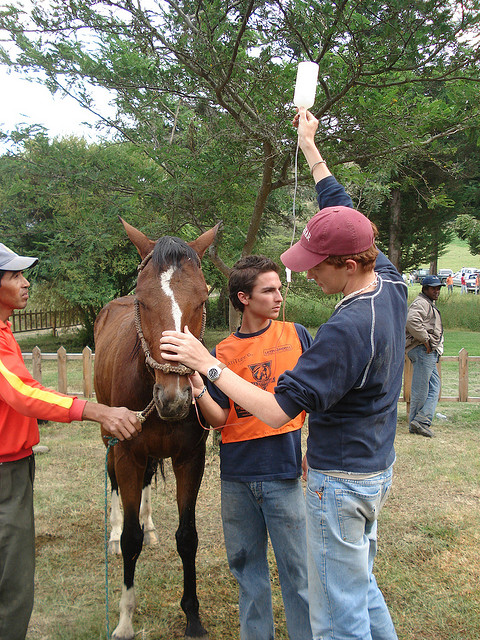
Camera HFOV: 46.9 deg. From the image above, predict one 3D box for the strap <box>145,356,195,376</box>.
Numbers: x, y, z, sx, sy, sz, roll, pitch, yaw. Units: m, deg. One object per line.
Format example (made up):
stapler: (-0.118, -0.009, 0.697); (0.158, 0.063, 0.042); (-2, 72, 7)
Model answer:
strap: (-0.321, 0.223, 2.512); (0.130, 0.030, 0.100); (8, -12, 15)

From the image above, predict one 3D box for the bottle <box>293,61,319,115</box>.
bottle: (0.367, -1.306, 3.073); (0.123, 0.398, 0.334); (2, 2, 5)

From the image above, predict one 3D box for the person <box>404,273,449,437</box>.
person: (2.458, 0.466, 7.379); (0.472, 2.148, 0.807); (2, 3, 18)

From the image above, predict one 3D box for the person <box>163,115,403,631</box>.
person: (0.258, 0.400, 2.091); (0.746, 1.676, 0.401); (2, 3, 4)

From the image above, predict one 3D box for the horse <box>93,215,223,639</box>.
horse: (-0.603, 0.607, 3.591); (0.645, 2.507, 2.396); (1, 2, -15)

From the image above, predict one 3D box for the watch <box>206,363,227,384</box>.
watch: (-0.096, 0.209, 2.204); (0.050, 0.081, 0.079); (35, -19, 23)
